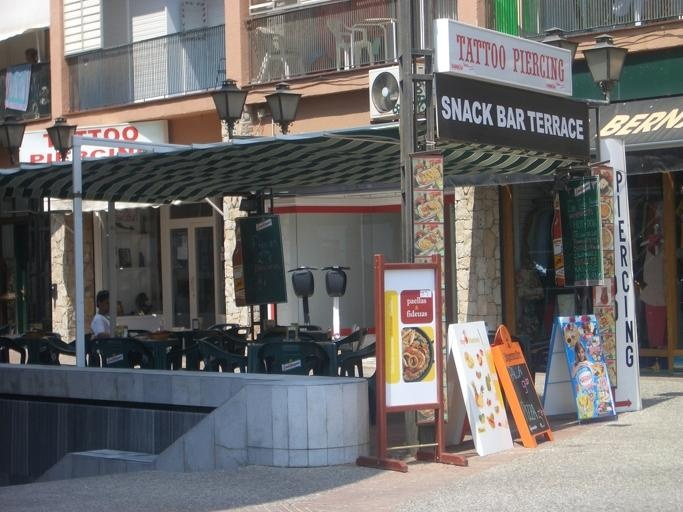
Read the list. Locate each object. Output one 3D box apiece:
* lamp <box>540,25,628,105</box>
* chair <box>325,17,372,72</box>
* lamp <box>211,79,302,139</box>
[{"bbox_3d":[3.294,-2.549,15.716,0.772,1.446,0.856,-9,9,-34],"label":"lamp"},{"bbox_3d":[0.135,-3.691,20.859,0.558,1.006,0.586,1,7,36],"label":"chair"},{"bbox_3d":[-1.280,-2.175,17.612,1.277,0.954,0.521,0,-6,-29],"label":"lamp"}]
